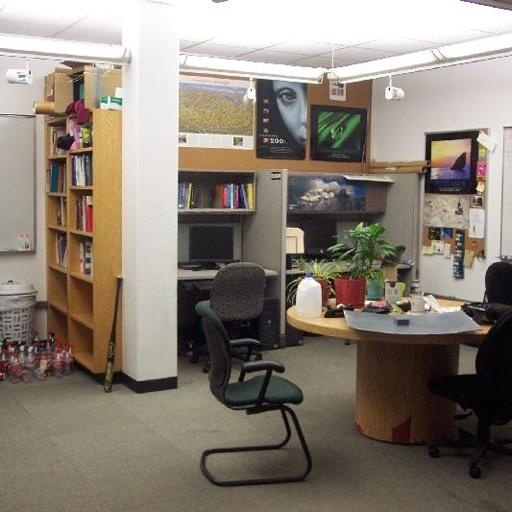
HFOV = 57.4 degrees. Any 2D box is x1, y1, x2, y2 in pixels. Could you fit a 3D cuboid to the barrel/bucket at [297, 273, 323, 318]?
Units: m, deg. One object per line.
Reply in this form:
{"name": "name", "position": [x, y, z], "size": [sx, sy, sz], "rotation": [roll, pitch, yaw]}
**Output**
{"name": "barrel/bucket", "position": [0.302, 0.214, 2.637], "size": [0.144, 0.230, 0.131], "rotation": [-2, 14, 1]}

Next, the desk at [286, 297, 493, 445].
{"name": "desk", "position": [0.861, 0.691, 2.591], "size": [0.843, 0.437, 0.849], "rotation": [0, 2, -4]}

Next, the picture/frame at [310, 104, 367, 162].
{"name": "picture/frame", "position": [1.085, -1.695, 6.357], "size": [0.840, 0.704, 0.085], "rotation": [0, 3, -23]}

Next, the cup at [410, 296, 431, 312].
{"name": "cup", "position": [0.924, 0.246, 2.610], "size": [0.115, 0.123, 0.114], "rotation": [-1, 3, 0]}

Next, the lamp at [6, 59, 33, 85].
{"name": "lamp", "position": [-1.845, -1.420, 3.645], "size": [0.169, 0.140, 0.170], "rotation": [0, 1, -3]}

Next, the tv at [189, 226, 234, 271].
{"name": "tv", "position": [-0.517, -0.105, 5.143], "size": [0.489, 0.495, 0.175], "rotation": [-1, 2, -22]}
